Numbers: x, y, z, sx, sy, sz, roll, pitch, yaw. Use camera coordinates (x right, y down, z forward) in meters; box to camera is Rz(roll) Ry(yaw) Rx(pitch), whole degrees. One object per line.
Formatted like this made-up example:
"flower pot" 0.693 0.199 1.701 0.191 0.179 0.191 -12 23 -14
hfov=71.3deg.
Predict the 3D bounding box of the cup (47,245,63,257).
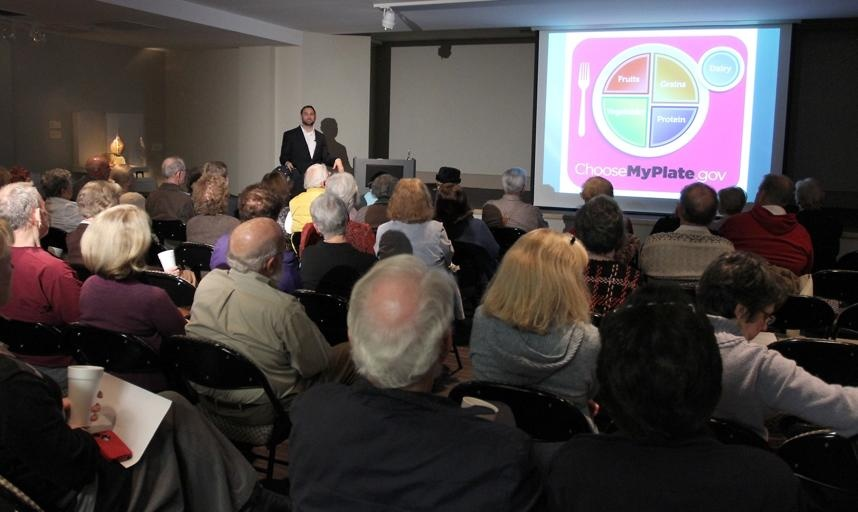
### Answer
"cup" -2.758 -0.040 4.427 0.072 0.065 0.094 13 0 -39

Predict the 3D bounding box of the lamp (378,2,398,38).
"lamp" -0.580 -3.169 7.912 0.255 0.335 0.118 -8 15 -28

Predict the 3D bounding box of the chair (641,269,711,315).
"chair" 1.090 0.154 2.647 0.209 0.142 0.117 2 3 27

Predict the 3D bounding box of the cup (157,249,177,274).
"cup" -1.845 0.037 4.216 0.107 0.169 0.110 -11 17 3

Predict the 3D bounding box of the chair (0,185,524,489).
"chair" -0.916 0.294 3.180 2.644 1.171 0.644 6 3 -9

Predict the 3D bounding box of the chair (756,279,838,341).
"chair" 2.297 0.353 3.802 0.330 0.560 0.388 7 30 33

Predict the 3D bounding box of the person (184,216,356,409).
"person" -0.917 0.286 3.529 0.828 1.096 0.980 9 25 10

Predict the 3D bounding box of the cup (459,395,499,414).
"cup" 0.204 0.610 2.460 0.087 0.053 0.153 9 -5 -22
